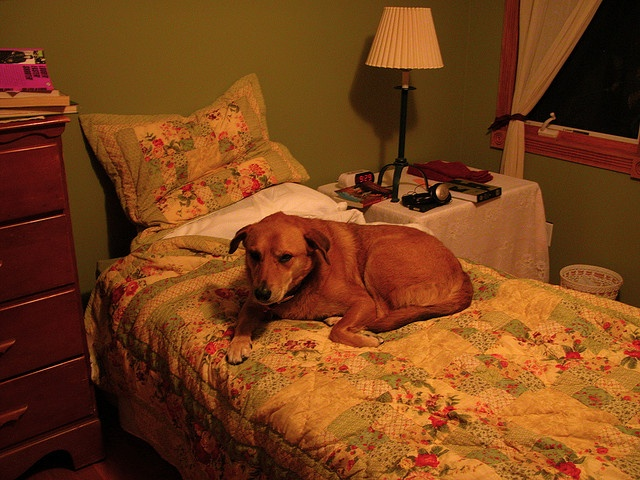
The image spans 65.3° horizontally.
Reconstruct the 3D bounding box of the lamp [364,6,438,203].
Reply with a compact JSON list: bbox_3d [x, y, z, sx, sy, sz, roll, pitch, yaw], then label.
[{"bbox_3d":[0.555,-0.923,3.351,0.487,1.154,0.715,-4,24,-8],"label":"lamp"}]

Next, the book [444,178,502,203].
[{"bbox_3d":[0.995,-0.334,3.390,0.354,0.079,0.338,21,31,39],"label":"book"}]

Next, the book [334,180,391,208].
[{"bbox_3d":[0.304,-0.303,3.310,0.222,0.050,0.217,-25,35,-35],"label":"book"}]

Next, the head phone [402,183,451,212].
[{"bbox_3d":[0.670,-0.257,3.164,0.244,0.104,0.190,-19,1,4],"label":"head phone"}]

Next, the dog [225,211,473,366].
[{"bbox_3d":[0.135,0.177,2.074,0.887,0.393,0.587,-14,16,-33],"label":"dog"}]
